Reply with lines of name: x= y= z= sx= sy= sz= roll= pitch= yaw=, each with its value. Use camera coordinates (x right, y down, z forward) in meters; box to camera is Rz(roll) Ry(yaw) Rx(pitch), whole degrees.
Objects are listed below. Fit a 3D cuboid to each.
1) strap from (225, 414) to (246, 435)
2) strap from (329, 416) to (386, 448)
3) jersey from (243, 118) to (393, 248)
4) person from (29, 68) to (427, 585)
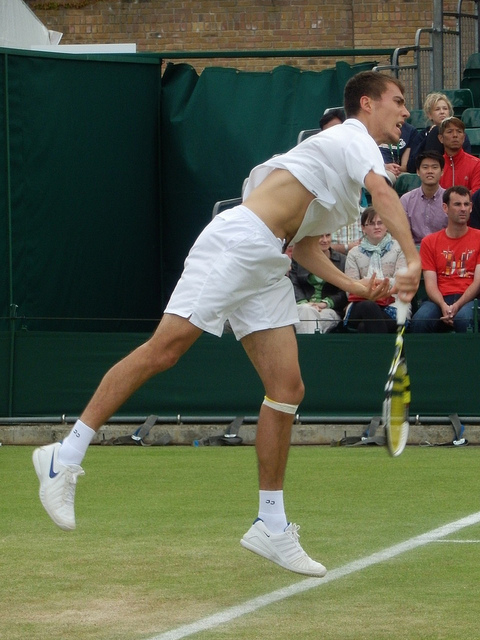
strap: x=-0.036 y=0.740 z=9.255 sx=0.030 sy=0.141 sz=0.098 roll=26 pitch=-13 yaw=-3
strap: x=0.809 y=0.821 z=9.159 sx=0.379 sy=0.185 sz=0.291 roll=-7 pitch=4 yaw=21
jersey: x=0.303 y=-0.533 z=5.222 sx=0.558 sy=0.450 sz=0.301 roll=2 pitch=6 yaw=6
person: x=0.027 y=-0.005 z=5.126 sx=1.368 sy=1.953 sz=0.751 roll=0 pitch=6 yaw=-17
